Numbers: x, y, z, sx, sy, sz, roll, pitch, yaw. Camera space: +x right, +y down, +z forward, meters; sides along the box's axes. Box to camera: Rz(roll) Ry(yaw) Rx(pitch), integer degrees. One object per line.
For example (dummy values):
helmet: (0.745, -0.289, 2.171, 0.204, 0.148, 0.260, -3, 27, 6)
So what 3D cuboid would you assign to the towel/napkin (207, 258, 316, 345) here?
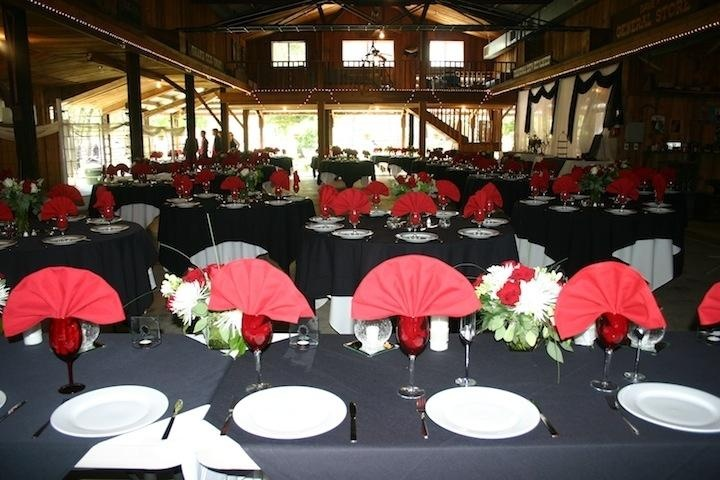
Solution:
towel/napkin: (-0.381, 0.251, 1.950, 0.394, 0.321, 0.055, 13, 10, 0)

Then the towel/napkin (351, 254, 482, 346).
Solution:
towel/napkin: (0.222, 0.241, 1.927, 0.498, 0.269, 0.070, 1, 11, 0)

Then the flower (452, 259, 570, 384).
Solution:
flower: (0.598, 0.307, 2.037, 0.424, 0.368, 0.434, 1, -4, 2)

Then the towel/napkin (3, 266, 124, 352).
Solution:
towel/napkin: (-1.049, 0.276, 1.851, 0.483, 0.273, 0.145, -1, -16, -1)
